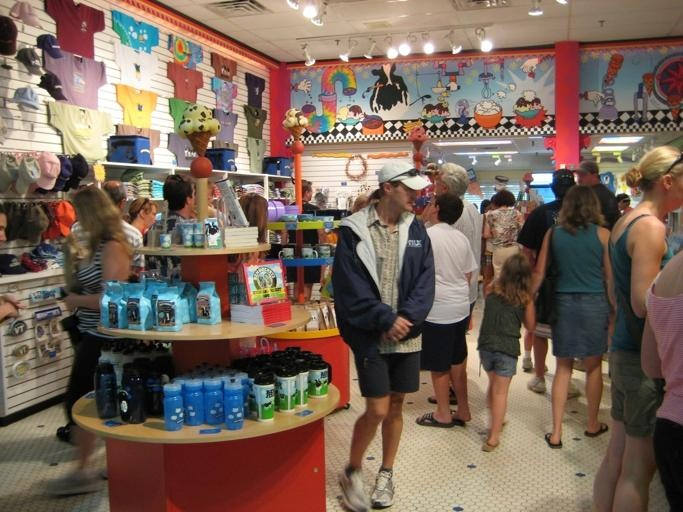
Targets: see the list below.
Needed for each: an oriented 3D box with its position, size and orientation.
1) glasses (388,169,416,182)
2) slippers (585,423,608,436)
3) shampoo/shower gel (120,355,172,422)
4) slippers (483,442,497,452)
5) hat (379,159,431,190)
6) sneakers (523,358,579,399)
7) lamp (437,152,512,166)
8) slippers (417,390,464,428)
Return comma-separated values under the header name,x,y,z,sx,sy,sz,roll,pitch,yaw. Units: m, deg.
name,x,y,z,sx,sy,sz,roll,pitch,yaw
glasses,0.397,-0.514,3.299,0.105,0.028,0.103,-19,1,12
slippers,2.211,1.496,4.465,0.203,0.057,0.093,-9,8,-32
shampoo/shower gel,-1.003,0.738,2.842,0.210,0.363,0.372,0,-5,10
slippers,1.203,1.553,4.195,0.064,0.040,0.119,2,-5,15
hat,0.410,-0.530,3.361,0.316,0.155,0.195,0,11,13
sneakers,2.150,1.297,5.420,0.203,0.238,0.556,-8,16,-30
lamp,4.503,-3.201,16.775,1.433,0.315,1.256,-1,1,-20
slippers,0.860,1.425,4.808,0.518,0.305,0.186,1,0,27
